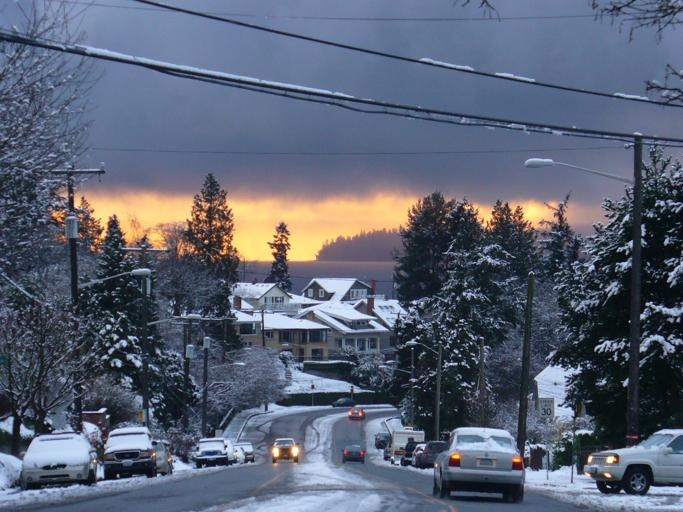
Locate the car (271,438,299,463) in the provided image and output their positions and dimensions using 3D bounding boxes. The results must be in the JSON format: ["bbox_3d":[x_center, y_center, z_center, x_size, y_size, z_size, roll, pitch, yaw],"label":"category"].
[{"bbox_3d":[-3.716,12.628,95.265,1.700,1.562,2.722,1,-10,-5],"label":"car"}]

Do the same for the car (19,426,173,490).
[{"bbox_3d":[-11.571,9.479,68.909,3.150,3.255,9.330,-3,-11,16],"label":"car"}]

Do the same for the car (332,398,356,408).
[{"bbox_3d":[0.173,14.739,146.271,1.809,0.745,0.869,5,-5,-31],"label":"car"}]

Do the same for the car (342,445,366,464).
[{"bbox_3d":[0.754,13.089,96.487,1.440,1.123,1.794,1,-10,-4],"label":"car"}]
